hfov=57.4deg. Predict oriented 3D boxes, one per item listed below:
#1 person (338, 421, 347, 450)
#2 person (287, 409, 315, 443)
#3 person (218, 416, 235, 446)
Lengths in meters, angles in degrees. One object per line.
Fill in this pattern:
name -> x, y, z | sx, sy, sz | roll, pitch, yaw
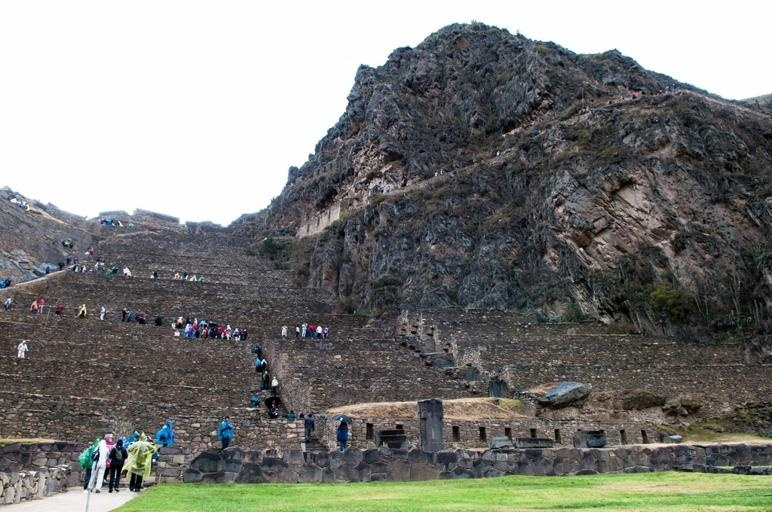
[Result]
person -> -1.903, 7.791, 30.968 | 0.479, 1.145, 0.809 | -2, -20, -6
person -> -3.905, 7.839, 32.396 | 1.261, 1.134, 0.910 | -3, 9, 44
person -> -6.875, 7.531, 30.292 | 0.626, 1.378, 2.135 | 1, -20, -12
